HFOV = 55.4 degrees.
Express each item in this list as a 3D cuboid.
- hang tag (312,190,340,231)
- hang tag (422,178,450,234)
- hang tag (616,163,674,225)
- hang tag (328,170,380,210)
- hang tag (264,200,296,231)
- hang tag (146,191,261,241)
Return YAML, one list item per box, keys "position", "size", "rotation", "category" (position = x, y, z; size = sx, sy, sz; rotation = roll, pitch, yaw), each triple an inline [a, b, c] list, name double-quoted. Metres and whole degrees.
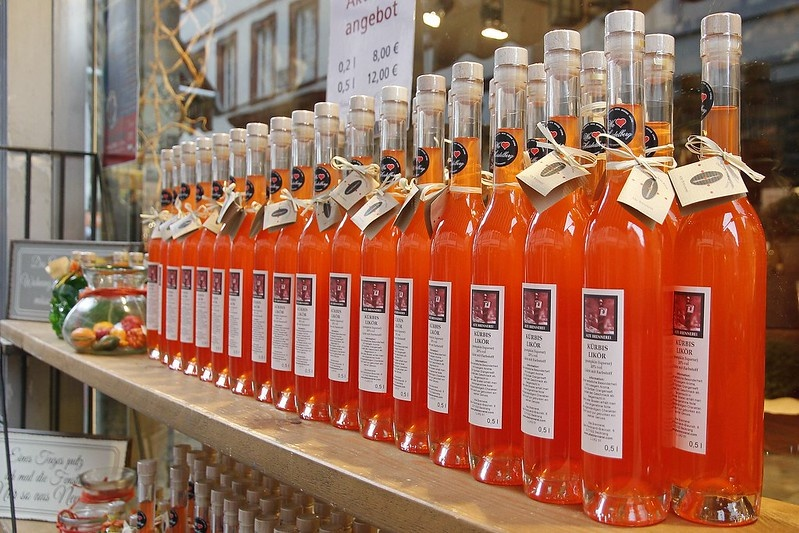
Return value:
- position: [-0.158, -0.118, 1.648]
  size: [0.061, 0.075, 0.044]
  rotation: [-29, -25, 29]
  category: "hang tag"
- position: [0.069, -0.112, 1.475]
  size: [0.085, 0.033, 0.077]
  rotation: [-42, -30, -27]
  category: "hang tag"
- position: [0.422, -0.122, 1.295]
  size: [0.114, 0.100, 0.042]
  rotation: [-4, 2, -22]
  category: "hang tag"
- position: [-0.098, -0.161, 1.602]
  size: [0.090, 0.069, 0.026]
  rotation: [-45, -21, -4]
  category: "hang tag"
- position: [-0.270, -0.112, 1.715]
  size: [0.070, 0.058, 0.011]
  rotation: [-9, -31, 18]
  category: "hang tag"
- position: [-0.497, -0.127, 1.960]
  size: [0.201, 0.088, 0.086]
  rotation: [-14, -25, 31]
  category: "hang tag"
